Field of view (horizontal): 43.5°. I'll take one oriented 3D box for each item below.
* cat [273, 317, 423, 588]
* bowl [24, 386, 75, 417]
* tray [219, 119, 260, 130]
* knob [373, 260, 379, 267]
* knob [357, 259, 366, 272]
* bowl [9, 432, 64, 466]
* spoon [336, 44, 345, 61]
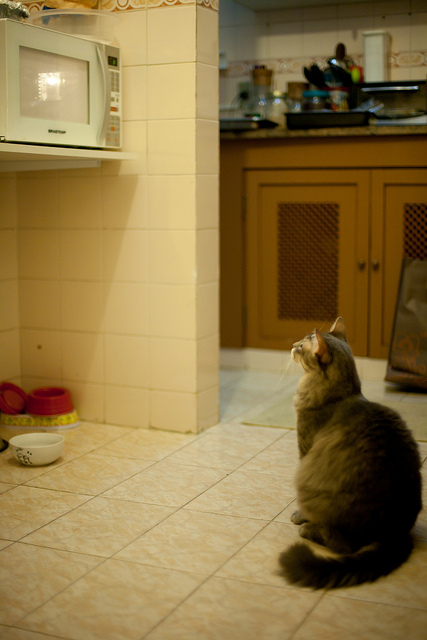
[{"bbox_3d":[0.277,0.241,1.118,0.312,0.485,0.359,0,0,5],"label":"cat"},{"bbox_3d":[-0.660,0.321,2.123,0.127,0.046,0.130,-1,10,0],"label":"bowl"},{"bbox_3d":[0.120,-1.001,2.742,0.111,0.024,0.111,2,10,11],"label":"tray"},{"bbox_3d":[0.802,-0.276,2.664,0.024,0.018,0.026,8,14,34],"label":"knob"},{"bbox_3d":[0.740,-0.273,2.697,0.040,0.059,0.031,-1,0,13],"label":"knob"},{"bbox_3d":[-0.568,0.423,1.731,0.165,0.066,0.189,-1,0,-32],"label":"bowl"},{"bbox_3d":[0.713,-1.517,3.035,0.073,0.071,0.016,-4,12,-41],"label":"spoon"}]
